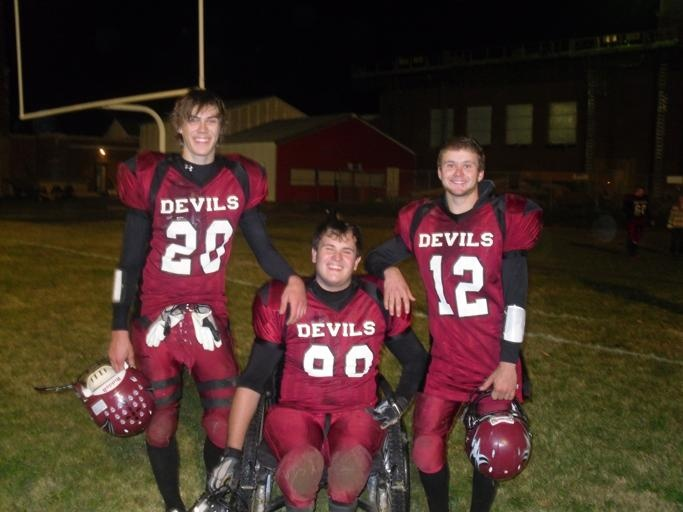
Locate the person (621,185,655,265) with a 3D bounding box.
[{"bbox_3d":[7.627,-0.923,13.947,0.574,1.818,1.330,5,6,29],"label":"person"}]

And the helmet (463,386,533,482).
[{"bbox_3d":[1.017,1.175,3.566,0.345,0.388,0.523,1,47,3],"label":"helmet"}]

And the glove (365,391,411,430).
[{"bbox_3d":[0.311,0.971,3.381,0.215,0.186,0.087,-27,-15,-15],"label":"glove"}]

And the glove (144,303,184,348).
[{"bbox_3d":[-1.164,0.453,3.514,0.181,0.287,0.085,42,2,11],"label":"glove"}]

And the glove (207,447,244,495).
[{"bbox_3d":[-0.691,1.282,3.207,0.131,0.222,0.090,25,-22,-1],"label":"glove"}]

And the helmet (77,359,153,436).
[{"bbox_3d":[-1.584,1.016,3.861,0.380,0.423,0.520,-21,-2,-21],"label":"helmet"}]

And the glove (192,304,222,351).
[{"bbox_3d":[-0.897,0.474,3.541,0.166,0.297,0.082,-17,4,-14],"label":"glove"}]
